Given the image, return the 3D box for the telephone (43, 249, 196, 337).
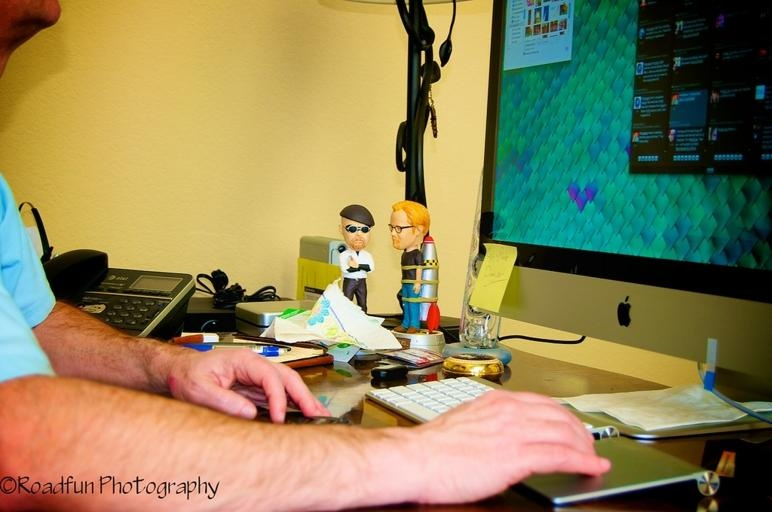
[{"bbox_3d":[-0.561,0.081,1.200,0.301,0.145,0.208,8,5,15],"label":"telephone"}]
